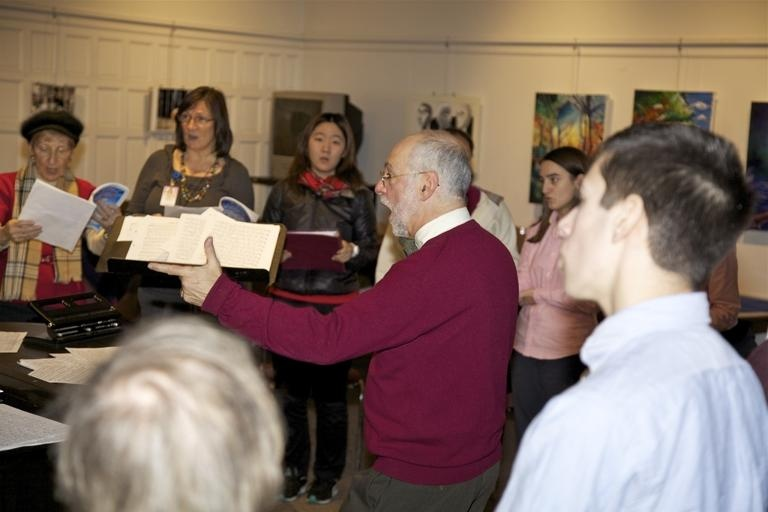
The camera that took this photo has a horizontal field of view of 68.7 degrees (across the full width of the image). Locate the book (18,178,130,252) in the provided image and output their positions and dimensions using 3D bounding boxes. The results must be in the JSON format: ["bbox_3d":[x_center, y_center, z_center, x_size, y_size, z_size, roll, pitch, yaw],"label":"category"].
[{"bbox_3d":[-1.845,-0.313,3.396,0.477,0.474,0.145,24,25,-26],"label":"book"}]

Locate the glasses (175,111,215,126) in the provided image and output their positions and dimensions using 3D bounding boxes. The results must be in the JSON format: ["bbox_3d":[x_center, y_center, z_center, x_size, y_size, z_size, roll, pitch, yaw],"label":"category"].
[{"bbox_3d":[-1.302,-0.938,3.841,0.255,0.084,0.083,2,8,4],"label":"glasses"}]

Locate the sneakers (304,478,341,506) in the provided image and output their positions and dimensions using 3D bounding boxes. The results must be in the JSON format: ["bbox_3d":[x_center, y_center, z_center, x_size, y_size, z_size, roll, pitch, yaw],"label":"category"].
[{"bbox_3d":[-0.405,1.486,3.533,0.090,0.103,0.236,-1,-12,15],"label":"sneakers"}]

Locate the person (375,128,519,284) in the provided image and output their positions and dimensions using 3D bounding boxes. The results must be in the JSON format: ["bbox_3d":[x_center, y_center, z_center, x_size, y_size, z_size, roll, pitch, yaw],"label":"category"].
[{"bbox_3d":[0.591,-0.243,3.690,0.889,1.209,0.410,0,6,-5],"label":"person"}]
